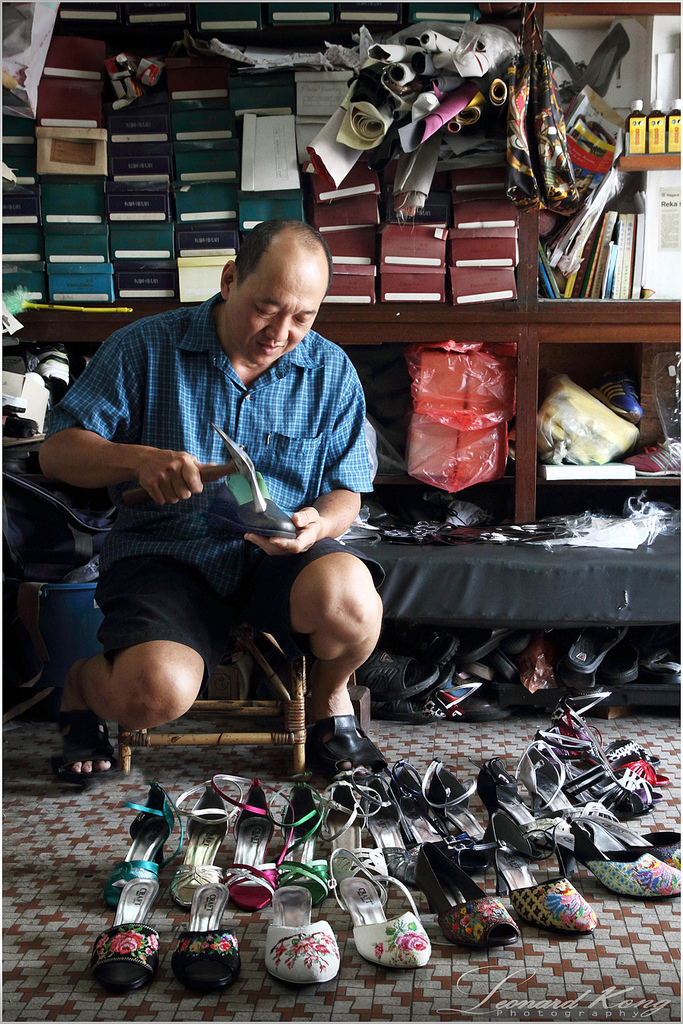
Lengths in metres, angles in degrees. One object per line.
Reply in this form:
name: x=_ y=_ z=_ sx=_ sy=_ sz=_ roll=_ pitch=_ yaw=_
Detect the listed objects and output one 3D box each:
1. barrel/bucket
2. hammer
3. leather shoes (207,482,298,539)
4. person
barrel/bucket: x=-0.630 y=0.281 z=1.835 sx=0.206 sy=0.299 sz=0.240 roll=-8 pitch=19 yaw=-33
hammer: x=-0.251 y=-0.072 z=1.287 sx=0.198 sy=0.141 sz=0.362 roll=-1 pitch=6 yaw=-31
leather shoes: x=-0.173 y=-0.014 z=1.317 sx=0.076 sy=0.084 sz=0.199 roll=-13 pitch=20 yaw=-43
person: x=-0.202 y=-0.051 z=1.516 sx=0.687 sy=1.155 sz=0.645 roll=-2 pitch=6 yaw=-8
